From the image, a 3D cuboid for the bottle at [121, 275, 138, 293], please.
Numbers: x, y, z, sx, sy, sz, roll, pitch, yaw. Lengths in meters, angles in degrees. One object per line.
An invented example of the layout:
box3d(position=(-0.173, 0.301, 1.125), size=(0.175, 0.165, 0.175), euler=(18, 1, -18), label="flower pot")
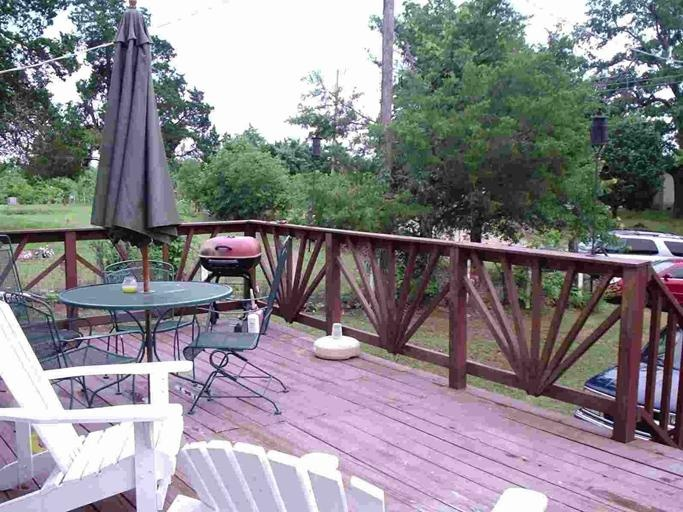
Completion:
box3d(position=(-1.536, 0.208, 4.113), size=(0.109, 0.117, 0.115), euler=(0, 0, 20), label="bottle")
